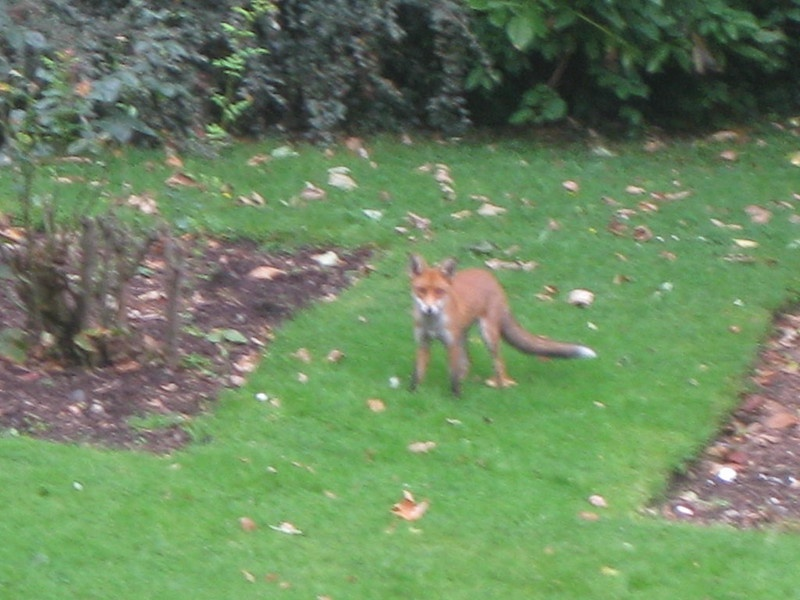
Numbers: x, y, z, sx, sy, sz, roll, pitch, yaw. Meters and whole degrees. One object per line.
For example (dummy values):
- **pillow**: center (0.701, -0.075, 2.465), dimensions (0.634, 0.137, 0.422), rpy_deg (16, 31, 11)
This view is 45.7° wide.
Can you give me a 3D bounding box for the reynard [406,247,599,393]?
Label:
- **reynard**: center (0.556, 0.150, 6.320), dimensions (1.599, 0.836, 0.566), rpy_deg (0, 5, -41)
